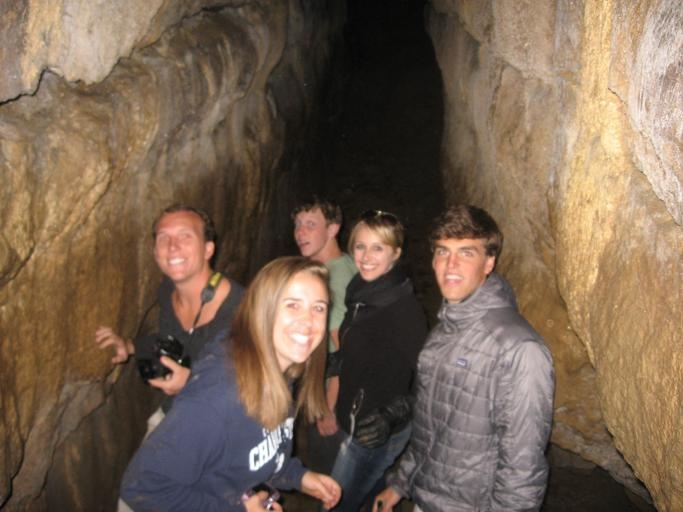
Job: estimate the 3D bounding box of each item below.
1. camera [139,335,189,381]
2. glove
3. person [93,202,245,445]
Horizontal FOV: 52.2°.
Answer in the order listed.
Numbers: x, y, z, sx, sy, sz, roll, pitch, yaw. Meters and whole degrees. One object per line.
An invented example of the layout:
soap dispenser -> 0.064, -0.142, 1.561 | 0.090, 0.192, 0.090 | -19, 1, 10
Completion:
camera -> -0.977, 0.570, 4.000 | 0.226, 0.233, 0.156 | 5, -4, 18
glove -> 0.313, 0.947, 4.207 | 0.541, 0.171, 0.161 | -21, 23, -39
person -> -0.970, 0.496, 4.227 | 0.838, 1.537, 0.829 | 7, 15, 32
